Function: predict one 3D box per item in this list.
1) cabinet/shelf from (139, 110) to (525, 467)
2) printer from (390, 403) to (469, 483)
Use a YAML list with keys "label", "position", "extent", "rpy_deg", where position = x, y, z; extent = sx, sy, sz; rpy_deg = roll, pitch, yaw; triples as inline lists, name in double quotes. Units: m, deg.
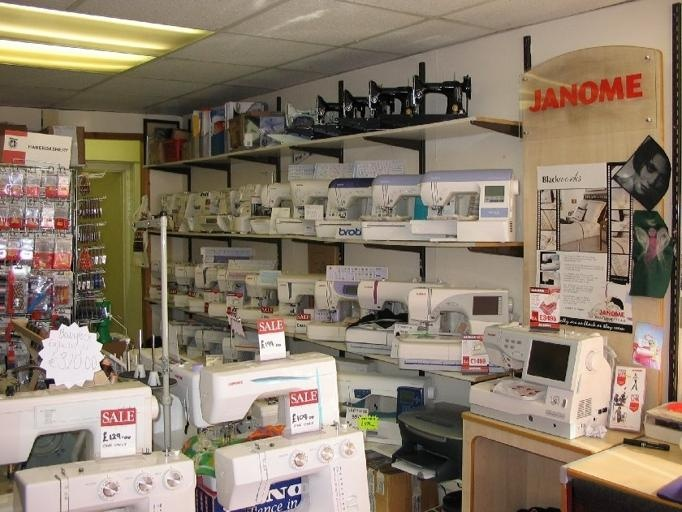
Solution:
- label: "cabinet/shelf"
  position: [0.235, 0.095, 4.123]
  extent: [0.733, 1.902, 3.504]
  rpy_deg: [-5, 6, -41]
- label: "printer"
  position: [0.588, 1.084, 3.479]
  extent: [0.489, 0.231, 0.636]
  rpy_deg: [3, 5, 34]
